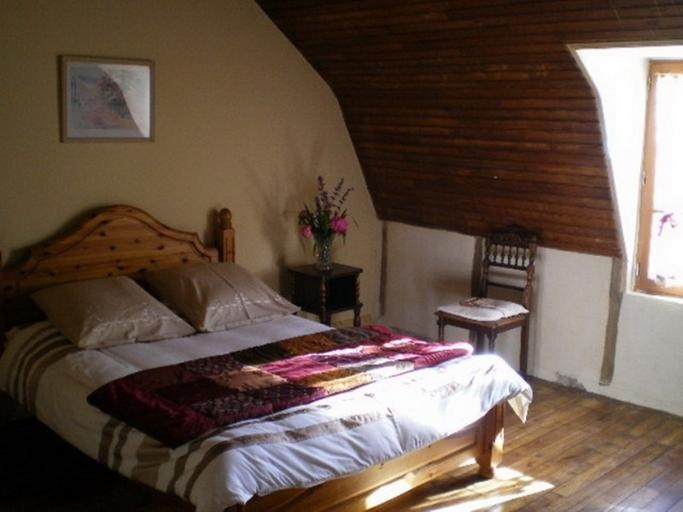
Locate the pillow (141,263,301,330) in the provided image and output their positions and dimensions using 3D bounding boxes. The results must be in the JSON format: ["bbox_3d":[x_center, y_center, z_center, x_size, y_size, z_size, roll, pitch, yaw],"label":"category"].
[{"bbox_3d":[-0.879,0.230,3.820,0.843,0.256,0.970,-1,21,-33],"label":"pillow"}]

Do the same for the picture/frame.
[{"bbox_3d":[-1.555,-1.033,3.531,0.575,0.500,0.040,-8,14,-39],"label":"picture/frame"}]

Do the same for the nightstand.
[{"bbox_3d":[-0.154,0.219,4.519,0.511,0.544,0.504,-14,19,-40],"label":"nightstand"}]

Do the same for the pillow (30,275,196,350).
[{"bbox_3d":[-1.355,0.338,3.155,0.509,0.159,0.540,21,11,-11],"label":"pillow"}]

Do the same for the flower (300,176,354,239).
[{"bbox_3d":[-0.179,-0.315,4.477,0.366,0.523,0.366,-4,-19,-2],"label":"flower"}]
